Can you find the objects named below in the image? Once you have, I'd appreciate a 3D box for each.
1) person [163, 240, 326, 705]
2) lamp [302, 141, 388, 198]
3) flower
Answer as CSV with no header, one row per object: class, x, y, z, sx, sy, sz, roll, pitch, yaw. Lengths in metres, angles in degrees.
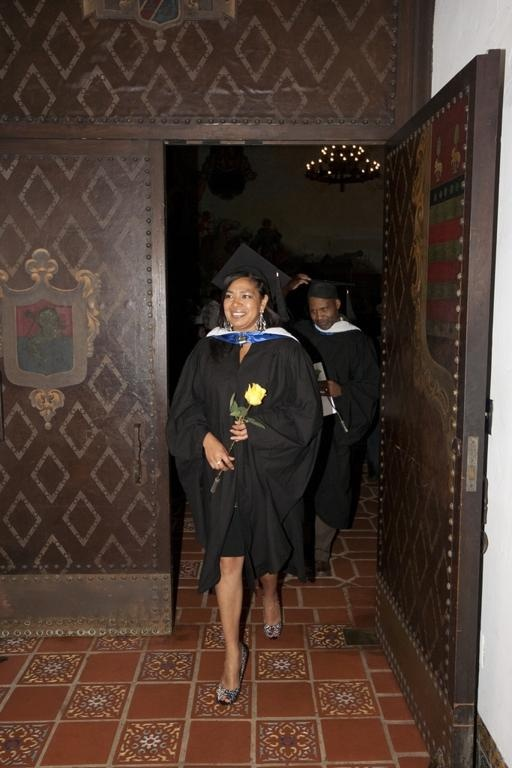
person,-0.045,0.356,2.597,0.598,1.930,0.606,0,0,-41
lamp,1.165,-2.894,7.446,1.011,0.482,0.302,0,0,-9
flower,-0.084,0.211,2.405,0.232,0.463,0.123,31,12,10
